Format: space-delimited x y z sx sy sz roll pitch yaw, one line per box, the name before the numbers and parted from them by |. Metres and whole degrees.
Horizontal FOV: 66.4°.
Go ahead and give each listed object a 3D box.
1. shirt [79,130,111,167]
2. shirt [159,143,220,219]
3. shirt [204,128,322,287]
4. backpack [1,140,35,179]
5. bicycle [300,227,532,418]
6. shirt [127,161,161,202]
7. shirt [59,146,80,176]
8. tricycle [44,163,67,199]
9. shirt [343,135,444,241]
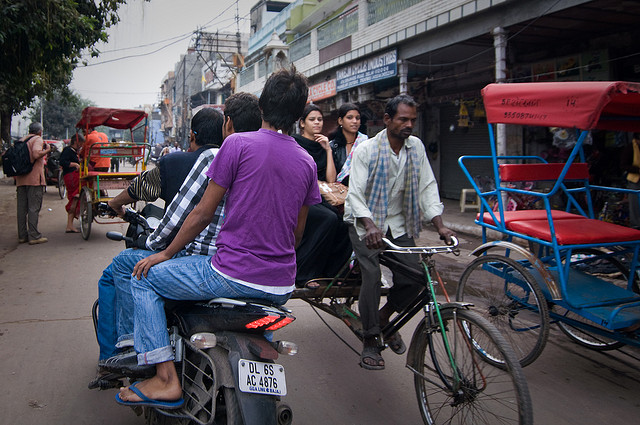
shirt | -5.021 -1.327 10.815 0.557 0.987 0.464 16 10 39
shirt | -0.962 -0.219 3.619 0.515 0.624 0.341 7 11 -5
shirt | -0.436 -0.027 3.582 1.026 1.068 0.587 9 0 -37
backpack | -5.349 -0.950 8.648 0.469 0.653 0.652 -3 8 -32
bicycle | 0.726 0.838 4.522 0.975 1.169 2.611 1 5 -21
shirt | -1.367 -0.231 3.908 0.321 0.333 0.283 3 4 8
shirt | -5.366 -1.122 10.497 0.370 0.610 0.645 7 8 -11
tricycle | -9.415 -1.049 17.141 0.794 0.863 1.026 -4 20 -36
shirt | 0.667 -0.225 4.423 0.877 0.944 0.390 -1 7 -19
